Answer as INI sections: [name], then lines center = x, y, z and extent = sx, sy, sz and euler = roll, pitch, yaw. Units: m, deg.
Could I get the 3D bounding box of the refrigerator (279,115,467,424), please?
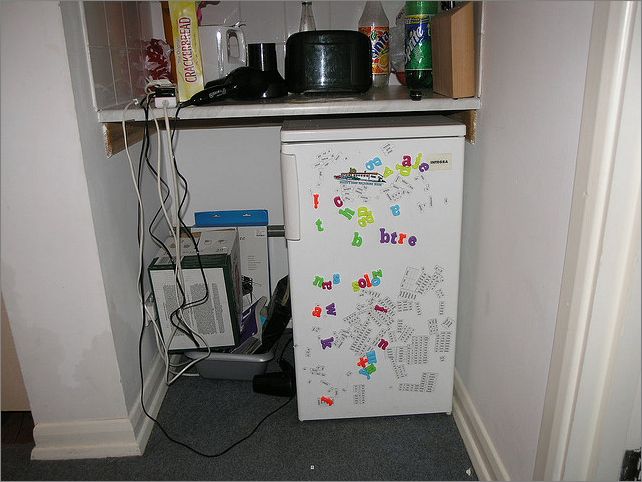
[refrigerator]
center = 0.161, 0.069, 2.076
extent = 0.595, 1.139, 0.573
euler = 1, 15, -6

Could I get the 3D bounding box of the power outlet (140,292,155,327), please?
[power outlet]
center = -0.694, 0.273, 2.029
extent = 0.032, 0.138, 0.049
euler = 0, 7, -2

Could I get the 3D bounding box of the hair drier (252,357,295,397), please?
[hair drier]
center = -0.186, 0.582, 2.102
extent = 0.180, 0.116, 0.169
euler = 5, 17, 9

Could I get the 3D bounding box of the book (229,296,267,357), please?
[book]
center = -0.314, 0.389, 2.213
extent = 0.108, 0.181, 0.161
euler = 3, 19, 1

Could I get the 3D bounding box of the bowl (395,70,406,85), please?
[bowl]
center = 0.343, -0.700, 2.173
extent = 0.045, 0.036, 0.048
euler = -4, 37, 3

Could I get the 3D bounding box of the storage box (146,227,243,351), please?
[storage box]
center = -0.523, 0.203, 2.189
extent = 0.335, 0.463, 0.400
euler = -5, 17, -5
